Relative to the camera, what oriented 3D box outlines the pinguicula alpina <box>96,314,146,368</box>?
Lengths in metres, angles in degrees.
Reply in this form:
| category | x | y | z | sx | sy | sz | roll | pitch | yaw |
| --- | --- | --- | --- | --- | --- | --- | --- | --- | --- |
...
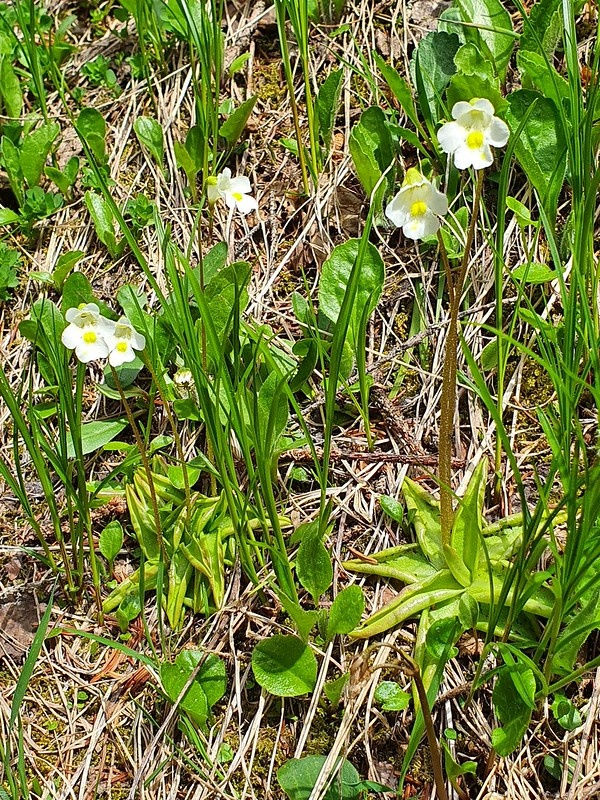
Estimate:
| category | x | y | z | sx | sy | sz | roll | pitch | yaw |
| --- | --- | --- | --- | --- | --- | --- | --- | --- | --- |
| pinguicula alpina | -0.330 | -0.108 | 1.352 | 0.075 | 0.038 | 0.102 | 27 | 91 | -12 |

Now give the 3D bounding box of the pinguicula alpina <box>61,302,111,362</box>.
| category | x | y | z | sx | sy | sz | roll | pitch | yaw |
| --- | --- | --- | --- | --- | --- | --- | --- | --- | --- |
| pinguicula alpina | -0.389 | -0.098 | 1.368 | 0.068 | 0.041 | 0.136 | -5 | 82 | 0 |
